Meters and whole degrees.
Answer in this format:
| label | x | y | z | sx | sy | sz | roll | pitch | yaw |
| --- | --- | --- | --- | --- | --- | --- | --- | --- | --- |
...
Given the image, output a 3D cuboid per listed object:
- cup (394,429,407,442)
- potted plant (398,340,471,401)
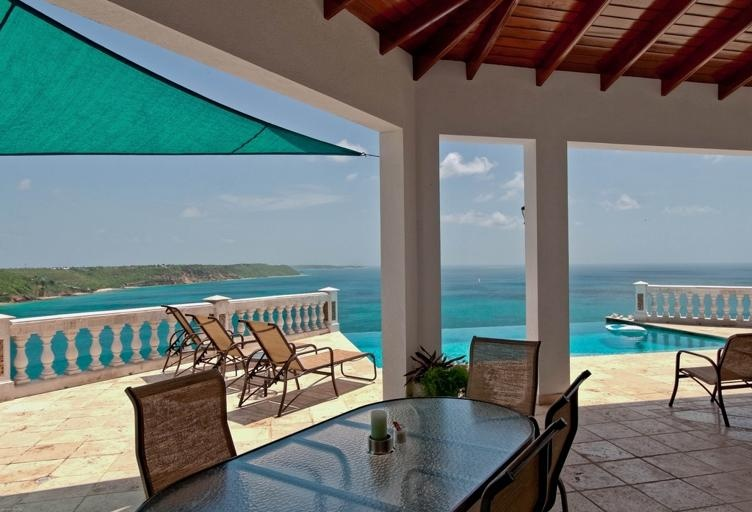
| label | x | y | z | sx | sy | sz | roll | pitch | yaw |
| --- | --- | --- | --- | --- | --- | --- | --- | --- | --- |
| cup | 0.173 | 1.272 | 3.295 | 0.096 | 0.084 | 0.088 | 0 | -3 | 0 |
| potted plant | 0.690 | 1.324 | 5.537 | 0.762 | 0.689 | 0.633 | 6 | -15 | -40 |
